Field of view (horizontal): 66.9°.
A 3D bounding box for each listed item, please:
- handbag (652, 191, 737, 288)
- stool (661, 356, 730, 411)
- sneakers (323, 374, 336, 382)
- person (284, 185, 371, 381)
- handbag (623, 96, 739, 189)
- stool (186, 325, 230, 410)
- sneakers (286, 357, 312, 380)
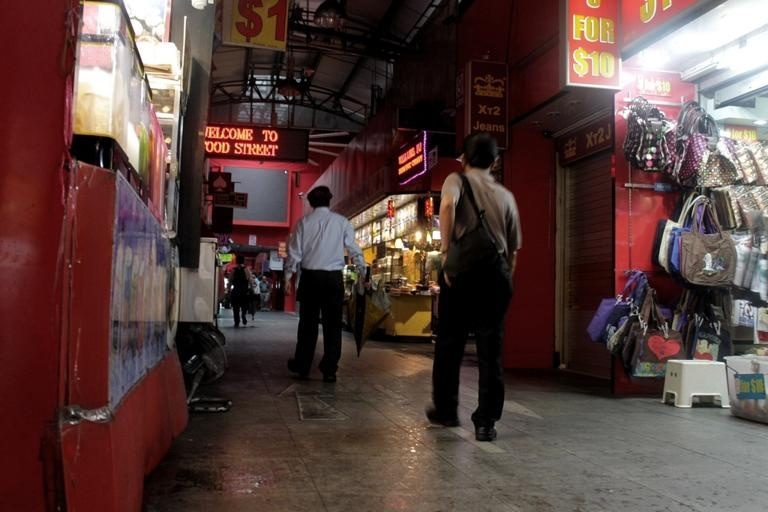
[{"bbox_3d":[3.014,-0.128,5.591,0.669,1.052,0.598,10,-2,5],"label":"handbag"},{"bbox_3d":[2.784,1.105,5.209,0.415,0.362,0.441,-2,0,-2],"label":"stool"},{"bbox_3d":[-0.555,1.245,5.950,0.141,0.072,0.281,3,-3,-6],"label":"sneakers"},{"bbox_3d":[-0.657,0.256,6.093,0.756,2.049,0.504,3,-3,-11],"label":"person"},{"bbox_3d":[2.913,-1.071,5.721,0.840,1.063,0.473,-3,-5,-8],"label":"handbag"},{"bbox_3d":[-1.518,0.992,5.204,0.237,0.693,0.463,-1,-4,14],"label":"stool"},{"bbox_3d":[-0.896,1.189,6.116,0.120,0.189,0.275,-7,16,-36],"label":"sneakers"}]
